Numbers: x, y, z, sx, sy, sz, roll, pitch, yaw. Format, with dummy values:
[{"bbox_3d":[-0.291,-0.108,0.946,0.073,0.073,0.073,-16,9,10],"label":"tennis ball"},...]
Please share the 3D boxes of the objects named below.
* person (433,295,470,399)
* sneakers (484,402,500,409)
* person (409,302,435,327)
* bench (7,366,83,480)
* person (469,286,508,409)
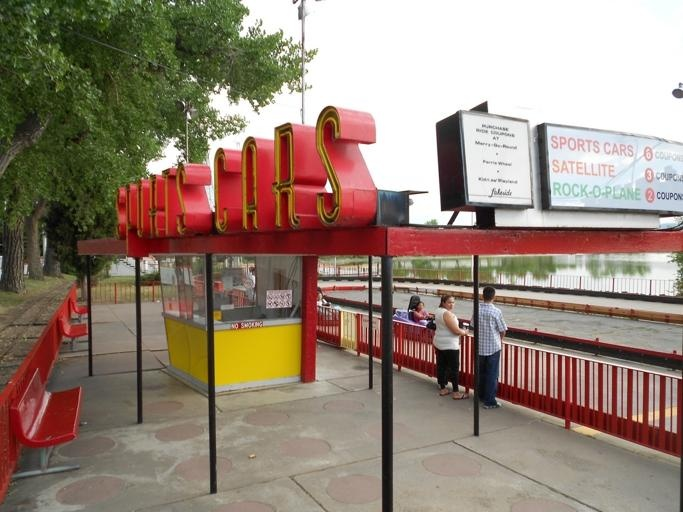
[{"bbox_3d":[2.228,1.844,11.714,0.643,2.188,0.802,1,5,11],"label":"person"},{"bbox_3d":[2.977,2.911,11.202,0.267,0.131,0.122,-4,6,-13],"label":"sneakers"},{"bbox_3d":[2.234,1.585,15.333,0.423,0.317,0.695,15,3,-26],"label":"person"},{"bbox_3d":[-4.803,2.711,9.219,0.992,1.470,1.929,-2,6,-26],"label":"bench"},{"bbox_3d":[2.920,1.789,10.997,0.481,2.382,0.831,1,5,17],"label":"person"}]
